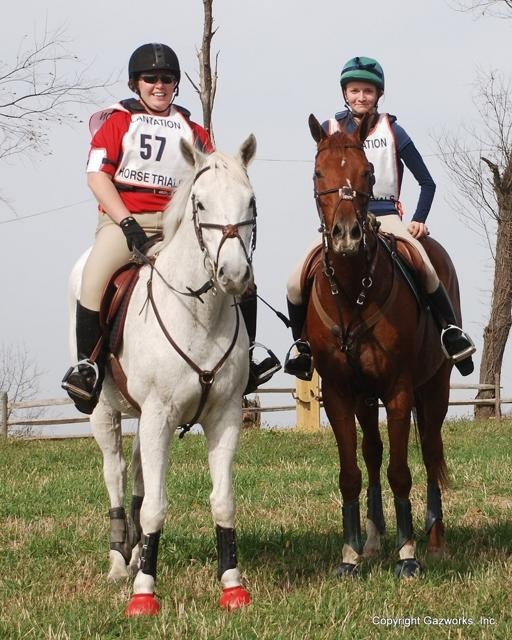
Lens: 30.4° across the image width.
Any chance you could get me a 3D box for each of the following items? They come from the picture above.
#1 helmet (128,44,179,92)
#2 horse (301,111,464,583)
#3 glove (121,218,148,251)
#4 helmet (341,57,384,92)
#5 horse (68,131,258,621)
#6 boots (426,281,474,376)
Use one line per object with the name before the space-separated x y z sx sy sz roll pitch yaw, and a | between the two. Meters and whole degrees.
helmet | -0.813 -2.061 7.454 0.372 0.287 0.398 -5 2 -10
horse | 0.954 0.241 7.336 1.024 3.544 2.313 0 3 11
glove | -0.868 -0.608 6.738 0.156 0.256 0.070 -20 -18 -31
helmet | 0.855 -2.005 7.676 0.339 0.272 0.348 0 3 5
horse | -0.563 0.387 6.498 0.980 3.178 1.989 -1 3 -10
boots | 1.532 0.096 7.709 0.243 0.808 0.248 -20 -7 0
